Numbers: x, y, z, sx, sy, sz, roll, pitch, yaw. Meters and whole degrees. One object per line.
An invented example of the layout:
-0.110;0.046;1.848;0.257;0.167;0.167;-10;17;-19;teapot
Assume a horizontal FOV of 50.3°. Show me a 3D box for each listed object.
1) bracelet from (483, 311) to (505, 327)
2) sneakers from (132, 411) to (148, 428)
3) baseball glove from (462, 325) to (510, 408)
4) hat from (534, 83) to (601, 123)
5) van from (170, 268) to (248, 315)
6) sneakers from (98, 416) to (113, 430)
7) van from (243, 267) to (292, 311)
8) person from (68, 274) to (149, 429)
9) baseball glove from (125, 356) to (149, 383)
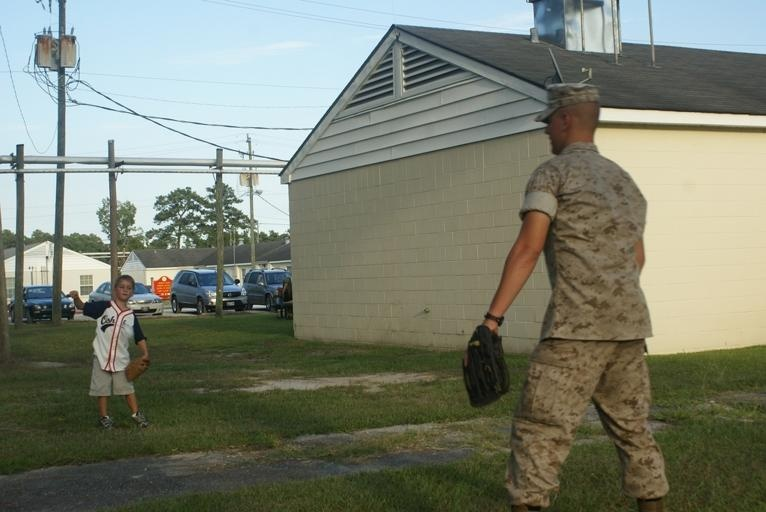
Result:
0.931;0.521;6.805;0.158;0.074;0.125;17;-7;8;bracelet
-3.175;2.138;10.665;0.124;0.119;0.286;0;0;-42;sneakers
0.891;0.946;6.954;0.443;0.656;0.217;-3;8;21;baseball glove
1.609;-1.359;7.108;0.515;0.251;0.377;-3;3;10;hat
-7.799;1.527;36.562;2.030;1.447;3.304;2;-6;-37;van
-3.646;2.187;10.740;0.117;0.099;0.238;1;-7;-29;sneakers
-4.856;1.444;36.768;1.843;1.441;3.011;1;-5;-36;van
-3.546;1.243;10.851;1.112;1.982;0.448;-1;-1;18;person
-3.275;1.471;10.790;0.347;0.385;0.149;-3;23;-38;baseball glove
